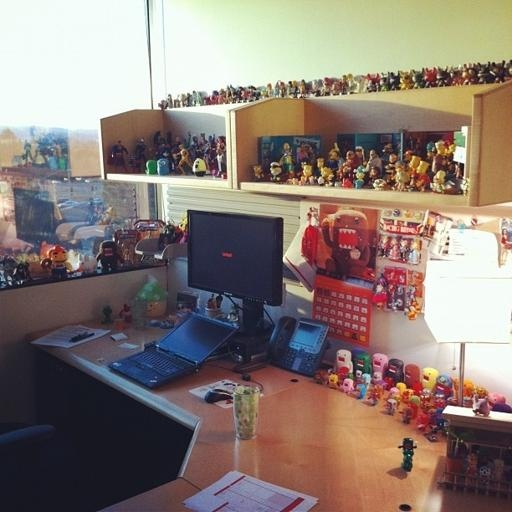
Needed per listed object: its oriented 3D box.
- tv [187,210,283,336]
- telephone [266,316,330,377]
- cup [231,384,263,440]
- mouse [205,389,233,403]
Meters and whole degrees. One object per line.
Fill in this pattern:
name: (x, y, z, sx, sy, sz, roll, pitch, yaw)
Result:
tv: (-0.080, 0.061, 1.875, 0.471, 0.486, 0.169, 6, 9, 42)
telephone: (0.178, 0.324, 1.791, 0.216, 0.211, 0.191, 9, 17, 41)
cup: (-0.031, 0.454, 1.327, 0.107, 0.175, 0.112, 0, -3, 0)
mouse: (-0.126, 0.443, 1.487, 0.071, 0.024, 0.041, -6, 14, -32)
